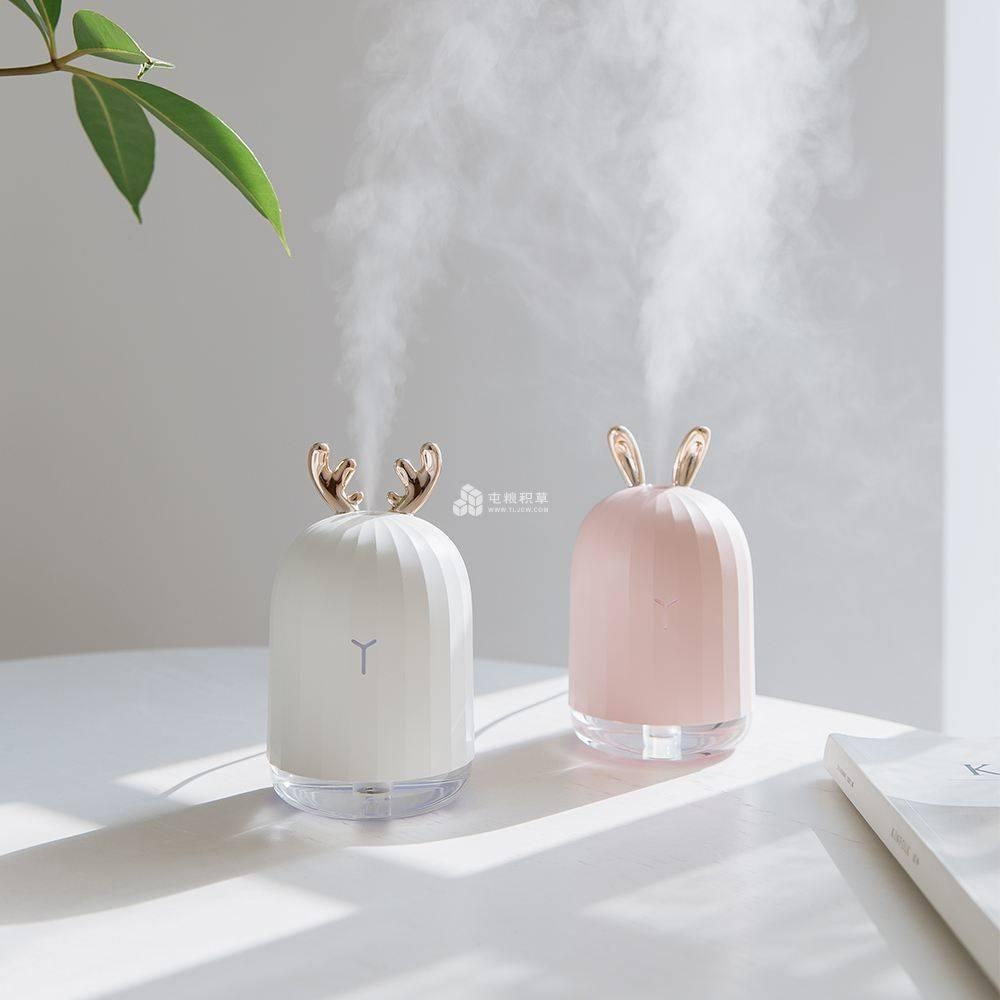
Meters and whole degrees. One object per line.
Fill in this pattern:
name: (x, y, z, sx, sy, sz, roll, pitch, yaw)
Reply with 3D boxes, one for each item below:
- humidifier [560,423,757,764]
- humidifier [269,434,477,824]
humidifier: (0.108, 0.062, 0.651, 0.096, 0.224, 0.104, 0, -6, -28)
humidifier: (-0.080, 0.075, 0.571, 0.090, 0.216, 0.109, -1, -12, 8)
